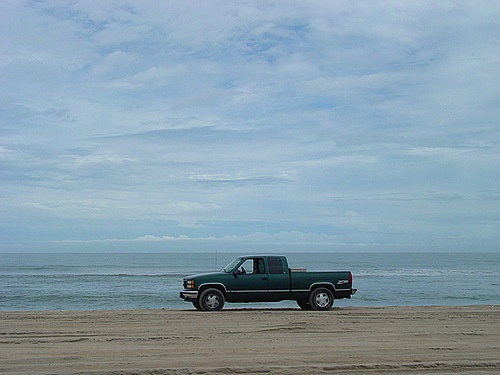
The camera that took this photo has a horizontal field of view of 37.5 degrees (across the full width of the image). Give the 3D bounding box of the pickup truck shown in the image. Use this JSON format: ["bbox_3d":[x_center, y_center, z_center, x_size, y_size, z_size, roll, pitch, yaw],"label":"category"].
[{"bbox_3d":[0.642,3.934,30.136,6.818,1.540,2.566,2,-8,-7],"label":"pickup truck"}]
